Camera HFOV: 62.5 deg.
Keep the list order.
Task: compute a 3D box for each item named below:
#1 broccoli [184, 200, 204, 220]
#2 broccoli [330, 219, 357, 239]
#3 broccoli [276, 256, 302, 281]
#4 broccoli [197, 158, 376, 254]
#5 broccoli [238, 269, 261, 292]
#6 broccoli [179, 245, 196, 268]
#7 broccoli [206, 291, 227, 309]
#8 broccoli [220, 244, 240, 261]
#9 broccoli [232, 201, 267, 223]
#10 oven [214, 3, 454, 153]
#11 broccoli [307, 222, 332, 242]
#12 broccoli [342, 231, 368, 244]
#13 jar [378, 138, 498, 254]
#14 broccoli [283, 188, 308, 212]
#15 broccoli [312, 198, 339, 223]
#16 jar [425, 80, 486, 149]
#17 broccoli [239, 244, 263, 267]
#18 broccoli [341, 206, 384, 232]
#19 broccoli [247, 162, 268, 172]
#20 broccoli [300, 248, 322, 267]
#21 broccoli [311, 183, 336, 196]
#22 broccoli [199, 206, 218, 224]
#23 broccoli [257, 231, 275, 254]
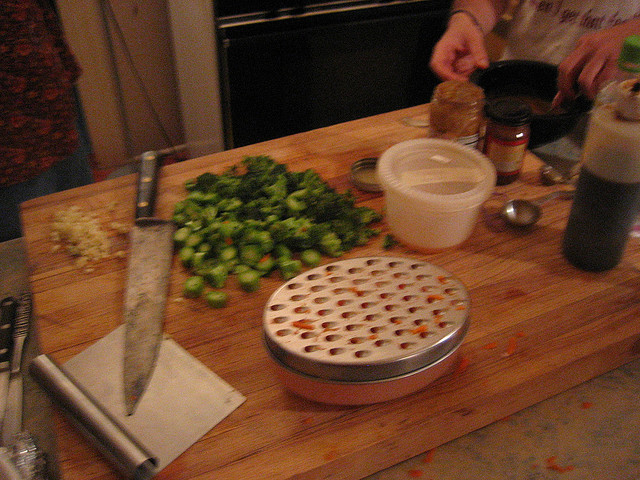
[{"bbox_3d":[-0.292,-0.069,1.223,0.049,0.015,0.041,-1,48,-13],"label":"broccoli"},{"bbox_3d":[0.054,-0.027,1.175,0.056,0.013,0.047,26,52,5],"label":"broccoli"},{"bbox_3d":[-0.061,0.056,1.129,0.059,0.037,0.053,-20,41,-22],"label":"broccoli"},{"bbox_3d":[-0.093,-0.098,1.235,0.347,0.080,0.237,32,24,31],"label":"broccoli"},{"bbox_3d":[-0.148,0.084,1.092,0.048,0.025,0.040,-1,63,-1],"label":"broccoli"},{"bbox_3d":[-0.283,0.033,1.141,0.016,0.039,0.048,18,-5,-33],"label":"broccoli"},{"bbox_3d":[-0.207,0.119,1.073,0.046,0.031,0.020,-4,14,-9],"label":"broccoli"},{"bbox_3d":[-0.191,0.026,1.129,0.037,0.020,0.039,-8,25,3],"label":"broccoli"},{"bbox_3d":[-0.155,-0.060,1.171,0.053,0.015,0.057,-12,31,-11],"label":"broccoli"},{"bbox_3d":[0.016,-0.626,1.968,0.854,0.611,0.387,-15,34,-13],"label":"oven"},{"bbox_3d":[-0.003,-0.018,1.177,0.049,0.019,0.035,-29,63,-37],"label":"broccoli"},{"bbox_3d":[0.079,-0.006,1.171,0.049,0.013,0.026,-5,43,-16],"label":"broccoli"},{"bbox_3d":[0.256,-0.103,1.240,0.324,0.185,0.256,-13,43,-12],"label":"jar"},{"bbox_3d":[-0.053,-0.090,1.202,0.059,0.012,0.055,10,39,24],"label":"broccoli"},{"bbox_3d":[0.022,-0.063,1.185,0.066,0.016,0.047,3,55,-12],"label":"broccoli"},{"bbox_3d":[0.351,-0.301,1.331,0.122,0.175,0.123,-5,49,6],"label":"jar"},{"bbox_3d":[-0.151,0.032,1.114,0.054,0.018,0.042,2,82,3],"label":"broccoli"},{"bbox_3d":[0.095,-0.053,1.212,0.078,0.024,0.060,-30,48,-33],"label":"broccoli"},{"bbox_3d":[-0.155,-0.184,1.321,0.040,0.034,0.013,-3,76,7],"label":"broccoli"},{"bbox_3d":[-0.017,0.037,1.126,0.048,0.022,0.036,9,50,9],"label":"broccoli"},{"bbox_3d":[0.006,-0.120,1.240,0.038,0.012,0.044,2,13,19],"label":"broccoli"},{"bbox_3d":[-0.246,-0.057,1.190,0.045,0.023,0.040,-5,44,9],"label":"broccoli"},{"bbox_3d":[-0.105,0.012,1.119,0.041,0.041,0.045,0,10,1],"label":"broccoli"}]
